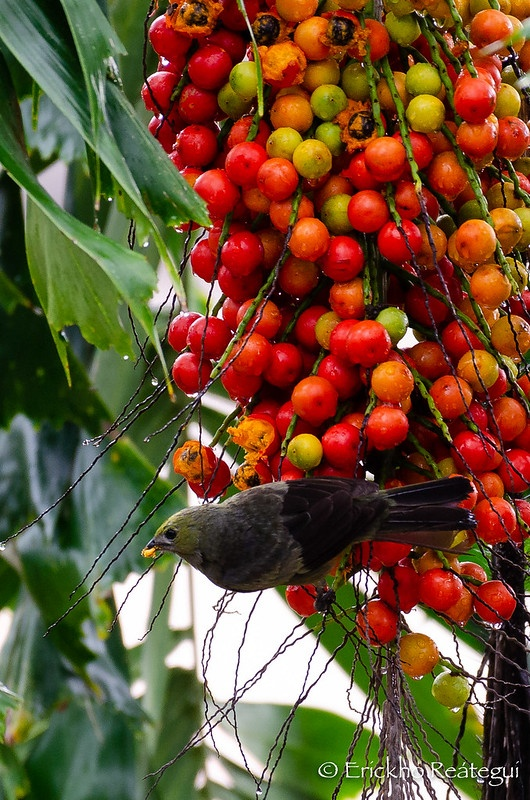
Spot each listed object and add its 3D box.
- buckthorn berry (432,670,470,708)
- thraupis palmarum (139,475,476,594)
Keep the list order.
[{"bbox_3d":[0.172,0.266,0.804,0.038,0.039,0.035,-4,-25,2],"label":"buckthorn berry"},{"bbox_3d":[0.040,0.130,0.830,0.315,0.086,0.091,-10,-72,1],"label":"thraupis palmarum"}]
